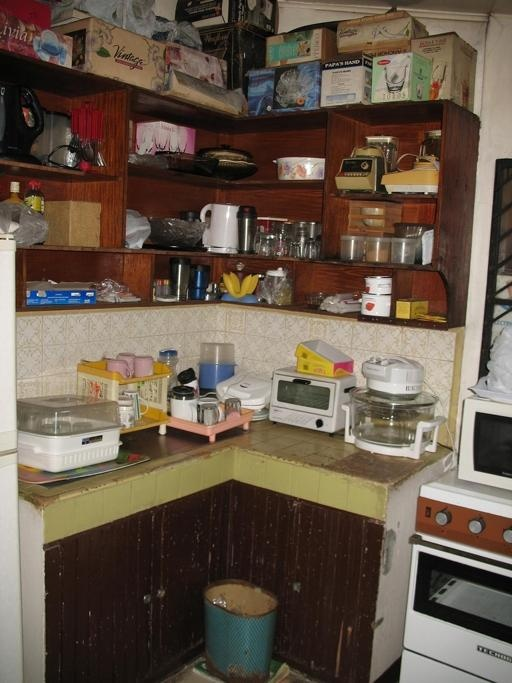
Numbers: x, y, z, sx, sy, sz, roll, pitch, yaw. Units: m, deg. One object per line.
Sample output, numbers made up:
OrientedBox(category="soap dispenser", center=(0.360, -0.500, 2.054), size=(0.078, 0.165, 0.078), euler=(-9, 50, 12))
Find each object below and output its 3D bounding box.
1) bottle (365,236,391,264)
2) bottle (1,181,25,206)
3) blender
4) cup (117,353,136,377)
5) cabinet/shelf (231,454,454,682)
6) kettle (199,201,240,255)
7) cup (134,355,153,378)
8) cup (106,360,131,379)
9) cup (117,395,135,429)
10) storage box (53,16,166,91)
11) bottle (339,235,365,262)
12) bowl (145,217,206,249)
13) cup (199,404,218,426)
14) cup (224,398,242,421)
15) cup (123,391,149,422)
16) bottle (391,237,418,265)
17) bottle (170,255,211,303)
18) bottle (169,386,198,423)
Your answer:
OrientedBox(category="bottle", center=(0.498, -0.369, 2.298), size=(0.113, 0.110, 0.112), euler=(-1, 8, -4))
OrientedBox(category="bottle", center=(-0.842, -0.512, 1.954), size=(0.055, 0.097, 0.259), euler=(0, 8, -23))
OrientedBox(category="blender", center=(0.544, 0.233, 2.147), size=(0.357, 0.352, 0.366), euler=(1, 9, -9))
OrientedBox(category="cup", center=(-0.477, 0.087, 2.117), size=(0.054, 0.090, 0.093), euler=(-4, 17, -29))
OrientedBox(category="cabinet/shelf", center=(0.261, 0.752, 2.419), size=(0.679, 1.232, 0.651), euler=(4, -4, -38))
OrientedBox(category="kettle", center=(-0.165, -0.533, 2.651), size=(0.254, 0.259, 0.174), euler=(1, 10, -2))
OrientedBox(category="cup", center=(-0.422, 0.095, 2.162), size=(0.074, 0.079, 0.073), euler=(1, 8, 0))
OrientedBox(category="cup", center=(-0.493, 0.100, 2.030), size=(0.082, 0.055, 0.050), euler=(6, 9, 5))
OrientedBox(category="cup", center=(-0.458, 0.250, 1.989), size=(0.066, 0.097, 0.104), euler=(-2, 8, -19))
OrientedBox(category="storage box", center=(-0.499, -1.052, 2.114), size=(0.097, 0.211, 0.399), euler=(8, 9, 35))
OrientedBox(category="bottle", center=(0.401, -0.382, 2.352), size=(0.109, 0.112, 0.109), euler=(-5, 6, -42))
OrientedBox(category="bowl", center=(-0.375, -0.454, 2.471), size=(0.181, 0.070, 0.170), euler=(0, 5, 0))
OrientedBox(category="cup", center=(-0.177, 0.272, 2.120), size=(0.081, 0.076, 0.087), euler=(3, 7, 0))
OrientedBox(category="cup", center=(-0.088, 0.274, 2.262), size=(0.066, 0.073, 0.065), euler=(0, 3, 0))
OrientedBox(category="cup", center=(-0.441, 0.234, 2.082), size=(0.119, 0.116, 0.067), euler=(0, 4, -20))
OrientedBox(category="bottle", center=(0.582, -0.353, 2.219), size=(0.110, 0.098, 0.108), euler=(3, 8, 19))
OrientedBox(category="bottle", center=(-0.320, -0.293, 2.696), size=(0.107, 0.179, 0.249), euler=(4, 6, 18))
OrientedBox(category="bottle", center=(-0.279, 0.239, 2.190), size=(0.102, 0.118, 0.132), euler=(2, 7, -10))
